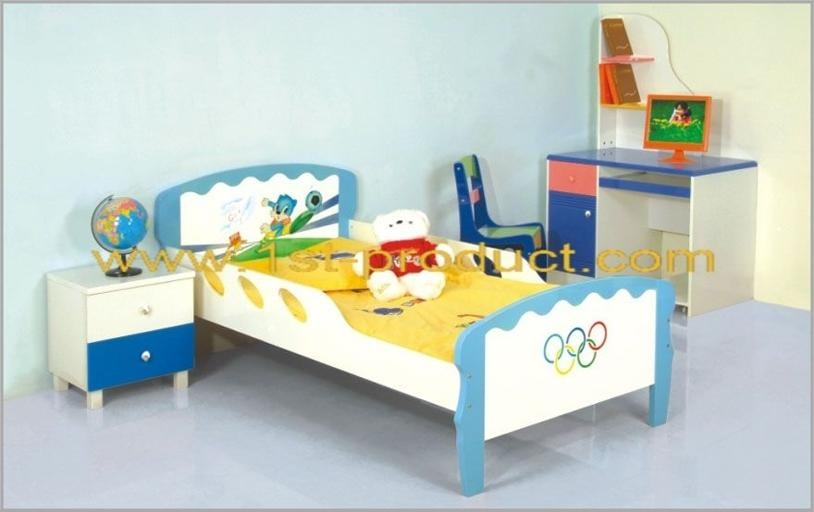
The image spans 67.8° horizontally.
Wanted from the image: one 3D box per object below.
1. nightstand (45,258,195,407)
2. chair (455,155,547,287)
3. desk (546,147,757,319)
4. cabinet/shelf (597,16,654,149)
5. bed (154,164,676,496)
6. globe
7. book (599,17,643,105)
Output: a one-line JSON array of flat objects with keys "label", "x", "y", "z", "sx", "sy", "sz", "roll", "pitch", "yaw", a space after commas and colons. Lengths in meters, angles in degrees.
[{"label": "nightstand", "x": -1.821, "y": 0.415, "z": 4.104, "sx": 0.858, "sy": 0.959, "sz": 0.802, "roll": -7, "pitch": 10, "yaw": -43}, {"label": "chair", "x": 0.816, "y": -0.377, "z": 5.542, "sx": 0.744, "sy": 1.160, "sz": 0.815, "roll": 7, "pitch": 10, "yaw": 41}, {"label": "desk", "x": 2.397, "y": -0.099, "z": 5.735, "sx": 1.275, "sy": 1.814, "sz": 1.538, "roll": -7, "pitch": 12, "yaw": -36}, {"label": "cabinet/shelf", "x": 2.073, "y": -1.817, "z": 5.971, "sx": 0.416, "sy": 0.980, "sz": 0.145, "roll": 12, "pitch": 23, "yaw": 38}, {"label": "bed", "x": -0.104, "y": 0.104, "z": 4.240, "sx": 1.821, "sy": 1.033, "sz": 3.068, "roll": -13, "pitch": 18, "yaw": -39}, {"label": "globe", "x": -1.895, "y": -0.126, "z": 4.056, "sx": 0.367, "sy": 0.480, "sz": 0.322, "roll": -3, "pitch": 13, "yaw": -30}, {"label": "book", "x": 2.071, "y": -1.902, "z": 5.924, "sx": 0.313, "sy": 0.833, "sz": 0.255, "roll": -14, "pitch": 16, "yaw": -27}]
